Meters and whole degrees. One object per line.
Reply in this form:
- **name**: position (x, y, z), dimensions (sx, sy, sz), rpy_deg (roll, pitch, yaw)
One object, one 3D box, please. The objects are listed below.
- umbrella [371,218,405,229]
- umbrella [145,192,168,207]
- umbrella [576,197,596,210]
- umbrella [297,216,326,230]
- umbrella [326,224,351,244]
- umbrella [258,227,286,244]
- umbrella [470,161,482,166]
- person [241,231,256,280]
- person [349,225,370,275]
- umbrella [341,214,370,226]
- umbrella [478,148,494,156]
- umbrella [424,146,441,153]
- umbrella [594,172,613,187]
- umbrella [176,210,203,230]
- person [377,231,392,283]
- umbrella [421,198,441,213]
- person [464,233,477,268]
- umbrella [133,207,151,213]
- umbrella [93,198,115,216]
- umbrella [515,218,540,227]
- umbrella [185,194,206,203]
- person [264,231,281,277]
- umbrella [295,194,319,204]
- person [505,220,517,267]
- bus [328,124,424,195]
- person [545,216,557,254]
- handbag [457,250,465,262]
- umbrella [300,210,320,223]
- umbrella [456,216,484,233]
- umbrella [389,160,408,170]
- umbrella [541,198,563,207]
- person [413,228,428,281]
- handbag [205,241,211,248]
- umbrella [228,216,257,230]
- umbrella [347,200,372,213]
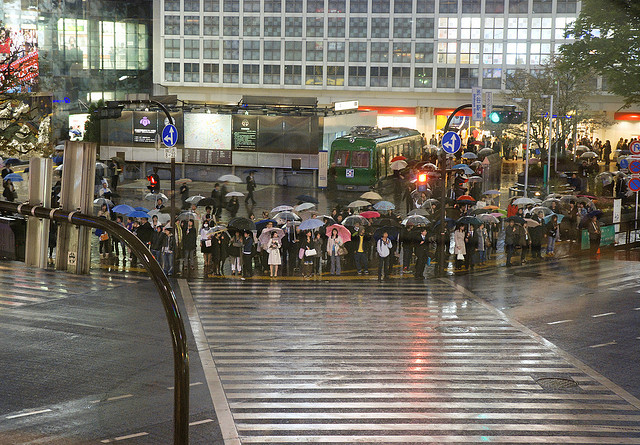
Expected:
- **umbrella**: position (2.741, 0.033, 37.065), dimensions (1.158, 0.366, 0.923), rpy_deg (1, 14, 2)
- **umbrella**: position (-7.542, -1.186, 41.799), dimensions (0.811, 0.803, 0.793), rpy_deg (2, -9, -18)
- **umbrella**: position (12.337, -0.906, 42.112), dimensions (0.742, 0.560, 1.175), rpy_deg (6, 15, 22)
- **umbrella**: position (-0.322, 0.110, 35.495), dimensions (0.912, 0.437, 0.785), rpy_deg (-4, 15, -20)
- **umbrella**: position (0.856, 0.381, 35.976), dimensions (0.727, 0.727, 0.361), rpy_deg (6, 40, 4)
- **umbrella**: position (-1.940, 0.552, 35.847), dimensions (0.972, 0.698, 0.677), rpy_deg (-1, 14, -6)
- **umbrella**: position (8.983, -3.359, 52.150), dimensions (0.564, 0.366, 1.292), rpy_deg (1, 14, 2)
- **person**: position (-2.861, 1.208, 35.812), dimensions (0.517, 1.978, 0.716), rpy_deg (0, 14, -1)
- **person**: position (1.611, 1.110, 36.806), dimensions (0.812, 1.930, 0.955), rpy_deg (1, 14, 1)
- **umbrella**: position (1.468, -0.067, 36.720), dimensions (0.905, 0.468, 1.159), rpy_deg (7, 15, 24)
- **umbrella**: position (10.331, -4.543, 57.428), dimensions (0.562, 0.349, 0.644), rpy_deg (4, 9, 26)
- **umbrella**: position (7.466, -4.899, 60.548), dimensions (0.693, 0.287, 0.705), rpy_deg (2, 15, 16)
- **umbrella**: position (16.338, -2.558, 52.602), dimensions (1.048, 0.910, 0.815), rpy_deg (11, -6, -13)
- **umbrella**: position (-5.436, -0.094, 37.436), dimensions (0.906, 0.578, 0.909), rpy_deg (0, -2, 9)
- **person**: position (2.582, 1.241, 36.250), dimensions (0.600, 1.882, 1.319), rpy_deg (1, 14, 4)
- **umbrella**: position (5.009, -0.827, 41.371), dimensions (0.629, 0.617, 1.301), rpy_deg (0, 14, -2)
- **person**: position (6.310, 1.137, 37.665), dimensions (0.434, 1.553, 0.806), rpy_deg (9, 16, 31)
- **umbrella**: position (-7.470, -0.570, 37.880), dimensions (0.490, 0.165, 0.513), rpy_deg (4, 4, 13)
- **umbrella**: position (-9.319, -0.808, 38.744), dimensions (0.918, 0.755, 0.913), rpy_deg (-1, -8, -3)
- **umbrella**: position (8.734, 0.023, 38.028), dimensions (0.836, 0.498, 0.496), rpy_deg (-10, 17, -37)
- **umbrella**: position (-5.479, -1.050, 40.070), dimensions (0.669, 0.331, 0.693), rpy_deg (0, 2, 39)
- **person**: position (-1.888, 1.238, 35.930), dimensions (0.617, 1.961, 0.735), rpy_deg (-2, 14, -8)
- **umbrella**: position (-0.581, -1.048, 40.523), dimensions (0.860, 0.491, 1.193), rpy_deg (0, 14, -2)
- **person**: position (7.966, 0.860, 38.070), dimensions (0.356, 1.889, 0.874), rpy_deg (3, 14, 12)
- **bus**: position (3.700, -4.583, 59.767), dimensions (2.804, 3.880, 10.981), rpy_deg (1, 11, 20)
- **person**: position (9.997, 0.538, 39.407), dimensions (0.497, 1.853, 0.812), rpy_deg (4, 14, 13)
- **handbag**: position (5.738, 1.332, 37.221), dimensions (0.335, 0.528, 0.287), rpy_deg (-4, 15, 24)
- **umbrella**: position (-0.534, -0.330, 40.433), dimensions (0.661, 0.611, 0.647), rpy_deg (-2, 5, -23)
- **umbrella**: position (6.130, 0.085, 37.002), dimensions (0.792, 0.746, 1.408), rpy_deg (9, 16, 32)
- **umbrella**: position (4.400, -3.211, 50.845), dimensions (0.847, 0.528, 0.591), rpy_deg (0, 14, -2)
- **umbrella**: position (10.356, -0.913, 40.808), dimensions (0.794, 0.427, 0.841), rpy_deg (4, 14, 13)
- **person**: position (3.987, 1.232, 36.024), dimensions (0.561, 2.012, 0.437), rpy_deg (0, 14, -2)
- **handbag**: position (-4.460, 0.829, 35.895), dimensions (0.269, 0.254, 0.071), rpy_deg (-1, 6, -9)
- **umbrella**: position (-3.032, 0.047, 35.474), dimensions (1.031, 0.404, 1.008), rpy_deg (-1, 14, -7)
- **umbrella**: position (1.777, -0.723, 41.181), dimensions (0.661, 0.466, 0.679), rpy_deg (1, 6, -4)
